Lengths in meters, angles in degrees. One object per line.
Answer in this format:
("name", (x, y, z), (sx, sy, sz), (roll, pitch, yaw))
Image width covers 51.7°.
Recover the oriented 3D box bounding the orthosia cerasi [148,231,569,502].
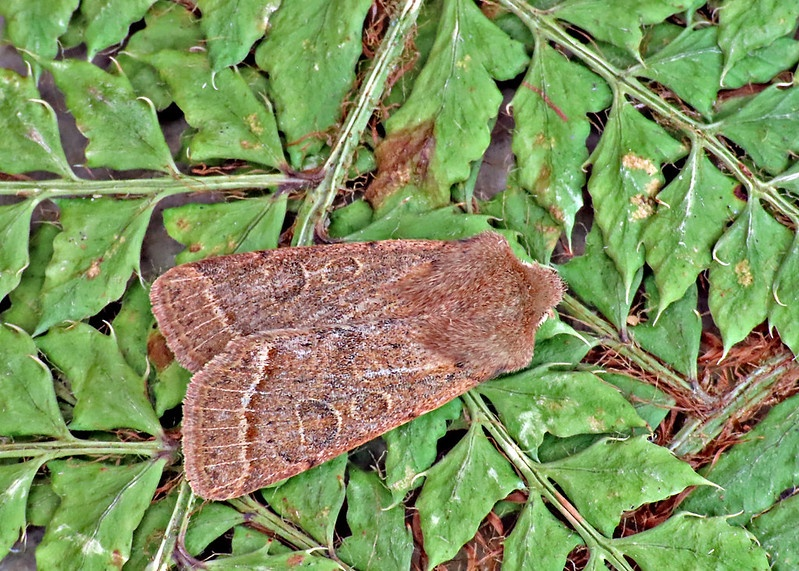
("orthosia cerasi", (-0.210, 0.259, 3.667), (1.632, 0.245, 1.033), (-14, 85, -2))
